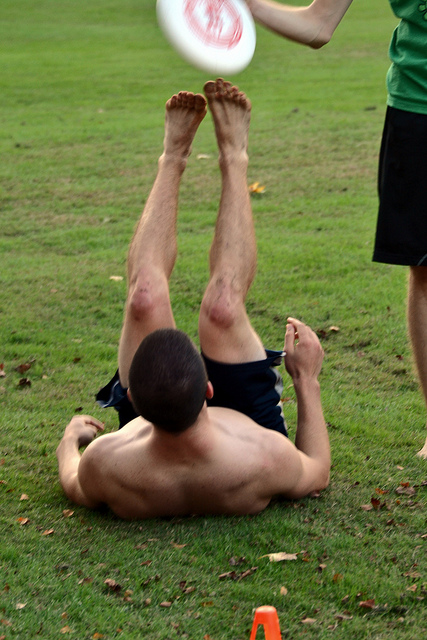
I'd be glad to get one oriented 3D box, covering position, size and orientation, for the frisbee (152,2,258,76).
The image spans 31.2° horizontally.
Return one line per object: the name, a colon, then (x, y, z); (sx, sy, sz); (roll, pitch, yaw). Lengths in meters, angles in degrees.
frisbee: (0.016, -1.113, 2.988); (0.223, 0.302, 0.493); (15, 19, 40)
